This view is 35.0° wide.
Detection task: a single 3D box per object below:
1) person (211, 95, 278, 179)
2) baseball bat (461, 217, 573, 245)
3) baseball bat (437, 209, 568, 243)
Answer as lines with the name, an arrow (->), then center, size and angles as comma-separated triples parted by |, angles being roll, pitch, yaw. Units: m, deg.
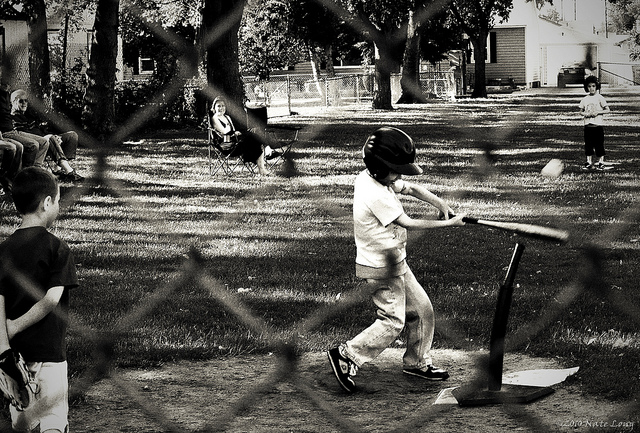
person -> -1.200, -1.246, 15.575 | 1.060, 1.203, 0.365 | 3, 9, 22
baseball bat -> 1.999, 0.154, 10.348 | 0.925, 0.130, 0.133 | 14, 55, 24
baseball bat -> 1.466, 0.075, 8.140 | 1.128, 0.165, 0.171 | 12, -1, 30
